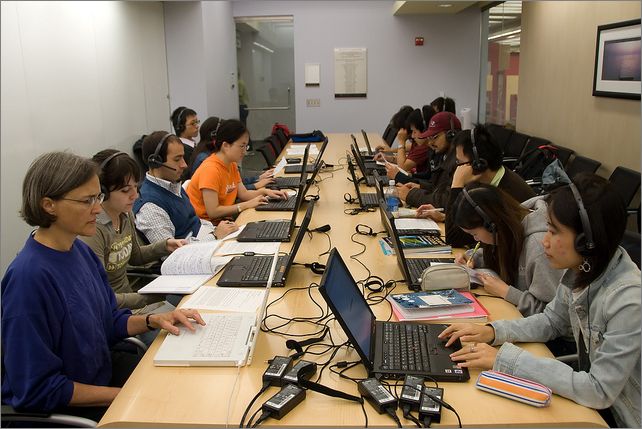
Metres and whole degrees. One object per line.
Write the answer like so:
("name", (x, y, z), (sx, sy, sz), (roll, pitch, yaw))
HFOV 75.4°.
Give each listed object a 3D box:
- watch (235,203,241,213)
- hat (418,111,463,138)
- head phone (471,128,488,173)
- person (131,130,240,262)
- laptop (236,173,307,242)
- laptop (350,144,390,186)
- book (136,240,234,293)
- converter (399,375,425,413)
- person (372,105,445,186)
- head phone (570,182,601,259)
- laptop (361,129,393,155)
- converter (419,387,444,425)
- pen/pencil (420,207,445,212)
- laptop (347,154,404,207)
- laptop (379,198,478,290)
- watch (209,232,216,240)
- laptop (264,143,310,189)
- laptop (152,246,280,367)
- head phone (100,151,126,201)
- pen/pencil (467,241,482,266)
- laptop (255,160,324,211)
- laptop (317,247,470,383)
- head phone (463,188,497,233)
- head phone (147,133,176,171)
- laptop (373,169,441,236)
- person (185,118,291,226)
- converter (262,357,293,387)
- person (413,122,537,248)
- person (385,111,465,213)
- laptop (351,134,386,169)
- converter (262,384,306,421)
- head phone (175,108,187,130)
("watch", (-0.744, -0.044, 3.784), (0.049, 0.082, 0.082), (-1, 3, -2))
("hat", (1.187, -0.896, 4.168), (0.453, 0.233, 0.289), (-8, 8, 6))
("head phone", (1.127, -0.445, 2.946), (0.090, 0.260, 0.231), (-15, 10, 17))
("person", (-1.058, -0.135, 3.282), (0.896, 0.941, 0.702), (-19, 24, -39))
("laptop", (-0.235, -0.010, 3.299), (0.572, 0.491, 0.708), (1, -4, 22))
("laptop", (0.568, -0.572, 4.872), (0.271, 0.475, 0.759), (-8, 30, 1))
("book", (-0.824, 0.347, 2.493), (0.260, 0.121, 0.363), (-3, 27, 26))
("converter", (0.361, 0.706, 1.641), (0.086, 0.045, 0.184), (4, 11, 19))
("person", (1.223, -0.720, 5.797), (0.827, 1.585, 0.598), (-13, 35, -4))
("head phone", (1.034, 0.026, 1.654), (0.057, 0.269, 0.144), (-4, 17, -3))
("laptop", (0.805, -0.994, 6.148), (0.411, 0.396, 0.601), (-10, 25, 4))
("converter", (0.416, 0.726, 1.572), (0.079, 0.056, 0.154), (4, 18, 21))
("pen/pencil", (0.892, -0.036, 3.370), (0.195, 0.029, 0.030), (-1, 57, 10))
("laptop", (0.506, -0.295, 3.790), (0.419, 0.368, 0.529), (-6, 26, -1))
("laptop", (0.705, 0.318, 2.591), (0.546, 0.400, 0.676), (1, -15, 9))
("watch", (-0.842, 0.171, 3.243), (0.025, 0.068, 0.048), (-19, 13, -7))
("laptop", (-0.379, -0.379, 3.813), (0.521, 0.470, 0.628), (1, 11, -4))
("laptop", (-0.494, 0.402, 1.832), (0.369, 0.261, 0.423), (1, 24, 8))
("head phone", (-1.224, -0.222, 2.424), (0.092, 0.230, 0.260), (10, 13, 11))
("pen/pencil", (0.960, 0.251, 2.604), (0.028, 0.024, 0.179), (9, 60, 49))
("laptop", (-0.319, -0.207, 3.742), (0.428, 0.305, 0.492), (1, 24, 10))
("laptop", (0.286, 0.451, 1.798), (0.547, 0.354, 0.557), (-1, 20, -1))
("head phone", (0.861, -0.009, 2.263), (0.072, 0.205, 0.162), (-38, -5, 14))
("head phone", (-1.229, -0.467, 3.184), (0.098, 0.227, 0.259), (3, 7, 4))
("laptop", (0.626, -0.071, 3.078), (0.406, 0.443, 0.651), (-4, 11, 3))
("person", (-0.797, -0.201, 3.967), (0.913, 1.315, 0.592), (7, 21, 1))
("converter", (-0.184, 0.657, 1.724), (0.083, 0.039, 0.158), (-1, 19, 21))
("person", (1.117, -0.232, 2.993), (0.930, 0.812, 0.652), (3, 14, 6))
("person", (1.116, -0.496, 3.875), (0.905, 0.792, 0.885), (-1, 16, -1))
("laptop", (0.606, -0.692, 5.137), (0.481, 0.346, 0.628), (3, -12, 3))
("converter", (-0.145, 0.706, 1.590), (0.073, 0.039, 0.148), (16, 27, 34))
("head phone", (-1.920, -1.298, 5.642), (0.050, 0.220, 0.186), (7, 19, 15))
